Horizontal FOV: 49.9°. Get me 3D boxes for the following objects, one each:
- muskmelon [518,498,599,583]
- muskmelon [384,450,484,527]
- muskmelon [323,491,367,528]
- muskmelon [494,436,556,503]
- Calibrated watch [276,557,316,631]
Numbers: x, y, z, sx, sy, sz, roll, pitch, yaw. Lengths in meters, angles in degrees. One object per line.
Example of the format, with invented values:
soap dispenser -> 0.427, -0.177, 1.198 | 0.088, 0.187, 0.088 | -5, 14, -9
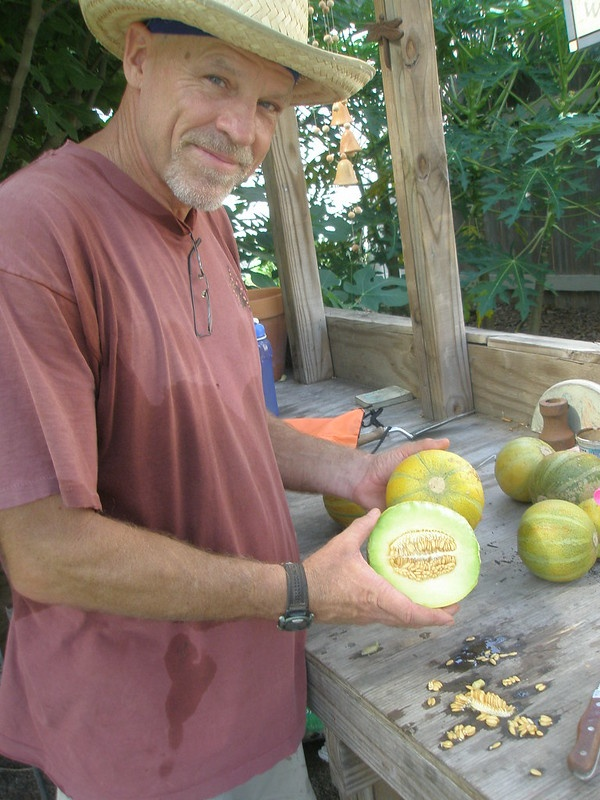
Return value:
muskmelon -> 0.547, 0.302, 1.354 | 0.137, 0.122, 0.114 | -13, 51, -13
muskmelon -> 0.303, 0.207, 1.551 | 0.214, 0.181, 0.190 | -22, -21, 4
muskmelon -> 0.123, 0.302, 1.743 | 0.108, 0.087, 0.098 | -11, 13, 3
muskmelon -> 0.584, 0.186, 1.666 | 0.112, 0.114, 0.135 | -47, -2, 25
Calibrated watch -> -0.006, 0.333, 1.067 | 0.071, 0.095, 0.106 | 0, -7, -3
